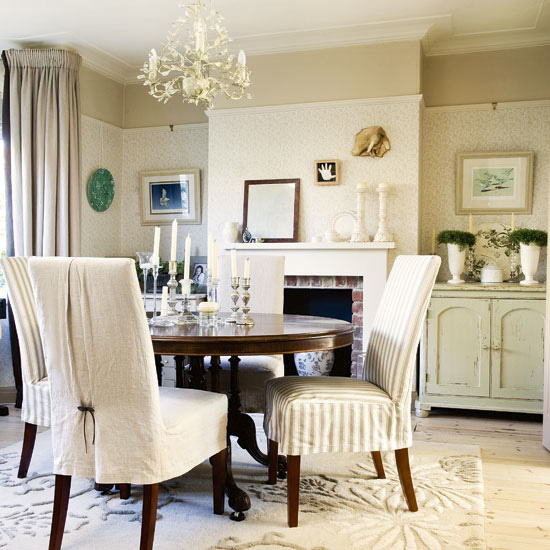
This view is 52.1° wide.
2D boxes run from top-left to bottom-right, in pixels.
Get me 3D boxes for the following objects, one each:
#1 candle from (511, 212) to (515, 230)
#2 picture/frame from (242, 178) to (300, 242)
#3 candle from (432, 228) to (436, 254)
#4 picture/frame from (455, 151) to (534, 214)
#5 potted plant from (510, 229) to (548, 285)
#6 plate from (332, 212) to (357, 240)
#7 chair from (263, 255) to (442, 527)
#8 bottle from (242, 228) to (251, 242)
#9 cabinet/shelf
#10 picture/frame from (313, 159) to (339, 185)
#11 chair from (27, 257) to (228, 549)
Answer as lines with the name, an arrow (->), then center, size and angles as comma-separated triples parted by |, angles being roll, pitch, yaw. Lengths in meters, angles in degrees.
candle -> 1.842, -0.426, 4.369 | 0.035, 0.131, 0.028 | 1, 3, 10
picture/frame -> -0.008, -0.527, 4.510 | 0.510, 0.582, 0.024 | 1, 0, 10
candle -> 1.267, -0.282, 4.514 | 0.039, 0.211, 0.084 | 1, 3, 15
picture/frame -> 1.737, -0.739, 4.398 | 0.506, 0.442, 0.043 | 0, 0, 13
potted plant -> 1.869, -0.137, 4.115 | 0.319, 0.404, 0.189 | -1, 3, -38
plate -> 0.533, -0.391, 4.334 | 0.196, 0.235, 0.152 | 1, 2, 5
chair -> 0.316, 0.464, 2.508 | 0.718, 1.116, 0.600 | 0, 2, -1
bottle -> -0.223, -0.330, 4.528 | 0.068, 0.097, 0.028 | 2, -10, 20
cabinet/shelf -> 1.415, 0.491, 3.820 | 0.917, 0.877, 0.385 | 0, -2, 14
picture/frame -> 0.406, -0.813, 4.385 | 0.204, 0.200, 0.034 | 1, 6, 18
chair -> -0.490, 0.471, 2.093 | 0.404, 1.070, 0.689 | 3, 3, 45
